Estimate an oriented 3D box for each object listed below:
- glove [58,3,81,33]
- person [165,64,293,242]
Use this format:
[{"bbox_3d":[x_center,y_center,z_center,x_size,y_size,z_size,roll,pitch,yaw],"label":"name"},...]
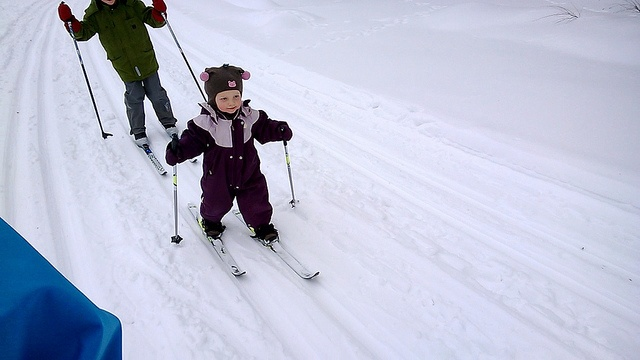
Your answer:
[{"bbox_3d":[-3.749,-2.439,5.967,0.214,0.394,0.450,-24,41,-23],"label":"glove"},{"bbox_3d":[-1.079,-0.277,5.029,1.031,2.024,1.290,25,46,33],"label":"person"}]
